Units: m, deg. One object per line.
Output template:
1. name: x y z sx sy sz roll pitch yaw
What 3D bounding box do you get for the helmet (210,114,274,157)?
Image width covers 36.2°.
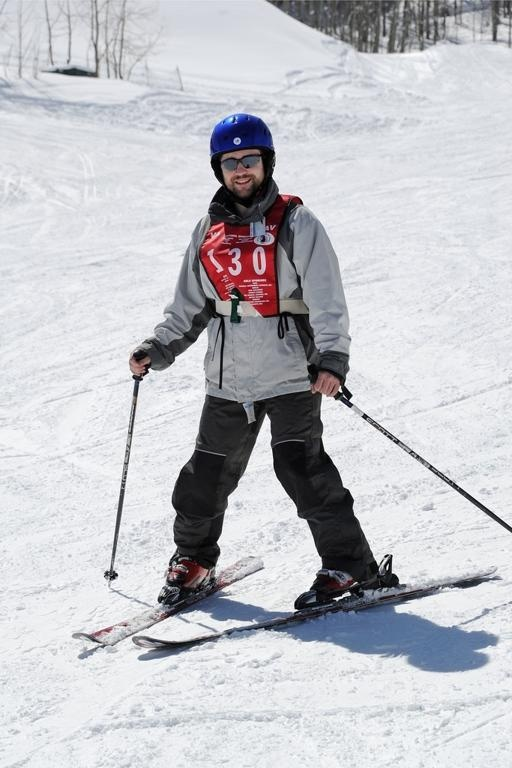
1. helmet: -0.073 -1.081 3.401 0.190 0.226 0.185 -3 10 7

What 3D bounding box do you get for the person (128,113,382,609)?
1. person: -0.049 -0.125 3.441 0.988 2.133 0.500 -7 6 24

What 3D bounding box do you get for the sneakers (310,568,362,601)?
1. sneakers: 0.326 0.836 3.270 0.265 0.127 0.082 -4 -1 -11

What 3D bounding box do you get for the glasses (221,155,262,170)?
1. glasses: -0.063 -0.954 3.353 0.103 0.033 0.097 -3 -24 11

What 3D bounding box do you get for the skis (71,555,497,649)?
1. skis: 0.163 0.937 3.340 1.360 0.095 0.151 -10 8 -2
